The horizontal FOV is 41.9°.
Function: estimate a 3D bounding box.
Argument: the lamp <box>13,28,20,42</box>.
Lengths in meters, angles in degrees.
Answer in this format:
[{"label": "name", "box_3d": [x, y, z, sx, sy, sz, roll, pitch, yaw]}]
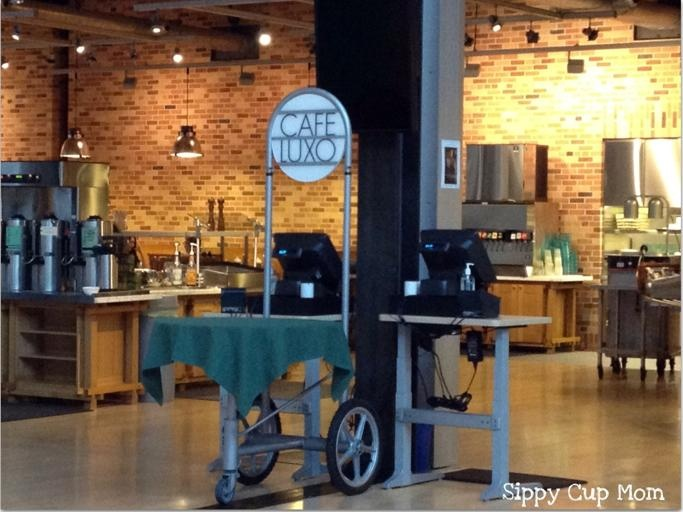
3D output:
[{"label": "lamp", "box_3d": [-4.408, -3.026, 12.061, 0.084, 0.199, 0.414, 0, -1, -20]}]

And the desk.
[{"label": "desk", "box_3d": [0.636, 0.933, 5.661, 0.844, 1.145, 0.712, 0, -5, 26]}]

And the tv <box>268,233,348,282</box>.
[{"label": "tv", "box_3d": [-0.315, -0.035, 6.545, 0.469, 0.310, 0.457, 1, 15, -19]}]

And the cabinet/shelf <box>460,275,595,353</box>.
[{"label": "cabinet/shelf", "box_3d": [2.692, 0.781, 12.476, 0.759, 1.137, 1.250, 0, 3, -44]}]

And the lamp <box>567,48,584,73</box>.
[{"label": "lamp", "box_3d": [3.168, -2.636, 12.051, 0.198, 0.433, 0.675, -1, -1, 15]}]

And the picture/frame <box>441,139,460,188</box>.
[{"label": "picture/frame", "box_3d": [0.780, -0.646, 6.342, 0.007, 0.330, 0.263, -3, 7, -21]}]

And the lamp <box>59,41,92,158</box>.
[{"label": "lamp", "box_3d": [-4.247, -2.528, 14.095, 0.482, 2.061, 3.121, 0, -1, -18]}]

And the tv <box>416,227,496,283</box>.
[{"label": "tv", "box_3d": [0.780, 0.007, 5.977, 0.438, 0.344, 0.627, -1, -7, 33]}]

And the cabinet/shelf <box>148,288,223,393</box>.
[{"label": "cabinet/shelf", "box_3d": [-1.744, 0.822, 9.003, 0.853, 1.102, 1.002, 1, -2, -38]}]

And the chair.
[{"label": "chair", "box_3d": [3.454, 0.858, 10.326, 0.922, 1.058, 0.965, -1, -1, 17]}]

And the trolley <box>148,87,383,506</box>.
[{"label": "trolley", "box_3d": [-0.443, 0.197, 5.731, 1.376, 2.642, 1.297, -1, -1, 3]}]
